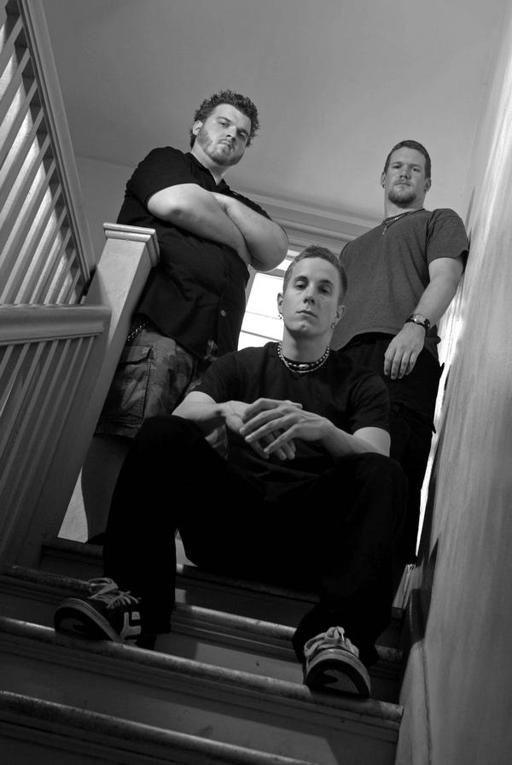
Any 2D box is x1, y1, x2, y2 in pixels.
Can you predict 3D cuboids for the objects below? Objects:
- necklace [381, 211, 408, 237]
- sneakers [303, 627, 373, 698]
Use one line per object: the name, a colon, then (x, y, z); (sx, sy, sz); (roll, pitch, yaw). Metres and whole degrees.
necklace: (0.523, -0.615, 2.499); (0.084, 0.036, 0.126); (2, 38, 22)
sneakers: (0.125, 0.430, 1.005); (0.108, 0.083, 0.112); (13, -4, 8)
